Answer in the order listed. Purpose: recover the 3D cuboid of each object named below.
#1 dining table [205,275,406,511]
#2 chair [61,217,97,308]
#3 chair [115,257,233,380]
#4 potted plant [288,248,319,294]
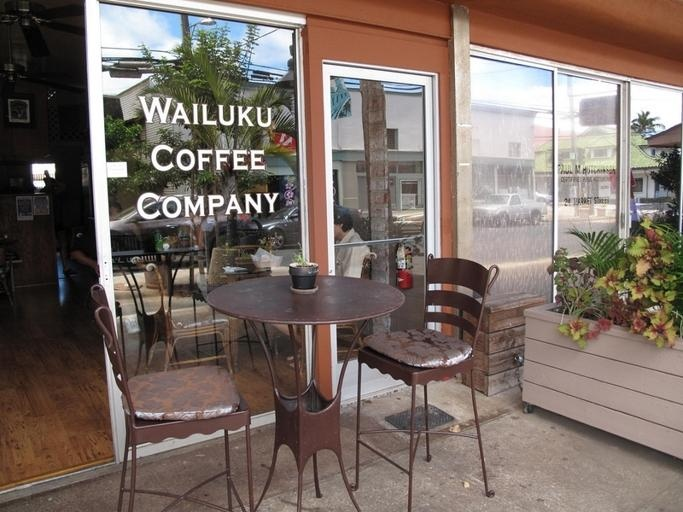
[{"bbox_3d":[-0.121,0.805,3.504,1.309,1.510,1.302,-4,4,-40],"label":"dining table"},{"bbox_3d":[-3.945,0.161,8.442,0.935,1.273,0.452,16,9,39],"label":"chair"},{"bbox_3d":[-1.263,0.477,4.162,0.715,0.975,0.568,-5,5,-39],"label":"chair"},{"bbox_3d":[-0.231,0.102,3.306,0.169,0.177,0.175,6,9,35],"label":"potted plant"}]
